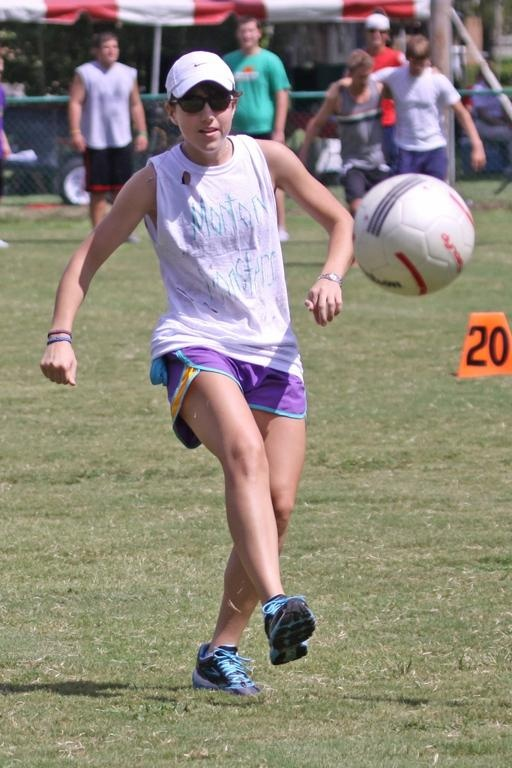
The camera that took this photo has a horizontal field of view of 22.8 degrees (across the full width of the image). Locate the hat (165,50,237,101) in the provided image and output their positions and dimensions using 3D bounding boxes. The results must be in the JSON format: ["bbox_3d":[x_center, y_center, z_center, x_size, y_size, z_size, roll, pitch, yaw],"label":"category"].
[{"bbox_3d":[-0.145,-0.801,3.357,0.192,0.119,0.247,-13,10,-1],"label":"hat"}]

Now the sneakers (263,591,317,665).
[{"bbox_3d":[0.074,0.549,2.873,0.082,0.196,0.094,-6,51,-11],"label":"sneakers"}]

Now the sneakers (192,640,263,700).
[{"bbox_3d":[-0.070,0.760,3.338,0.098,0.121,0.263,7,4,-34],"label":"sneakers"}]

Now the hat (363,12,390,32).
[{"bbox_3d":[0.935,-2.681,9.637,0.175,0.139,0.279,0,12,2],"label":"hat"}]

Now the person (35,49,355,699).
[{"bbox_3d":[-0.181,-0.113,3.179,0.779,1.385,0.852,1,13,9],"label":"person"}]
